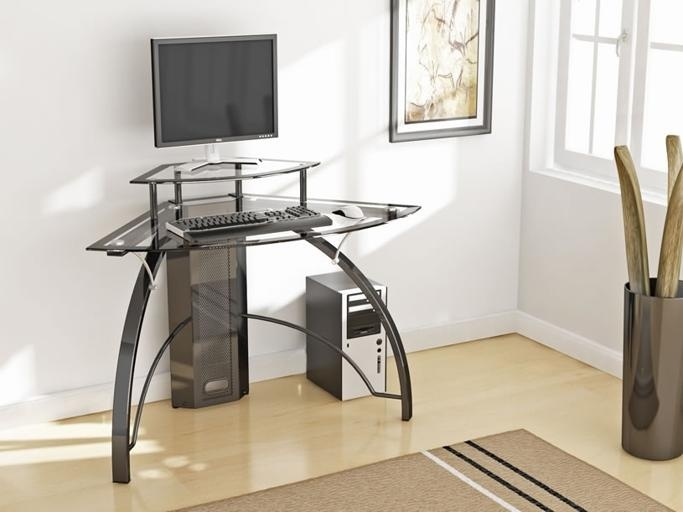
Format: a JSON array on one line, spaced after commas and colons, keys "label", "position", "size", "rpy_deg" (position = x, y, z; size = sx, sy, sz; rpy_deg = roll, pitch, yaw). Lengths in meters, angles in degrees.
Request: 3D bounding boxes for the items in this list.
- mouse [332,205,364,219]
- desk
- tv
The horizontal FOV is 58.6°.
[{"label": "mouse", "position": [0.035, -0.202, 2.729], "size": [0.110, 0.036, 0.070], "rpy_deg": [14, 18, 39]}, {"label": "desk", "position": [-0.517, 0.227, 2.857], "size": [1.484, 1.095, 0.852], "rpy_deg": [-9, 12, -44]}, {"label": "tv", "position": [-0.586, -0.724, 2.792], "size": [0.625, 0.571, 0.175], "rpy_deg": [-8, 19, -28]}]
